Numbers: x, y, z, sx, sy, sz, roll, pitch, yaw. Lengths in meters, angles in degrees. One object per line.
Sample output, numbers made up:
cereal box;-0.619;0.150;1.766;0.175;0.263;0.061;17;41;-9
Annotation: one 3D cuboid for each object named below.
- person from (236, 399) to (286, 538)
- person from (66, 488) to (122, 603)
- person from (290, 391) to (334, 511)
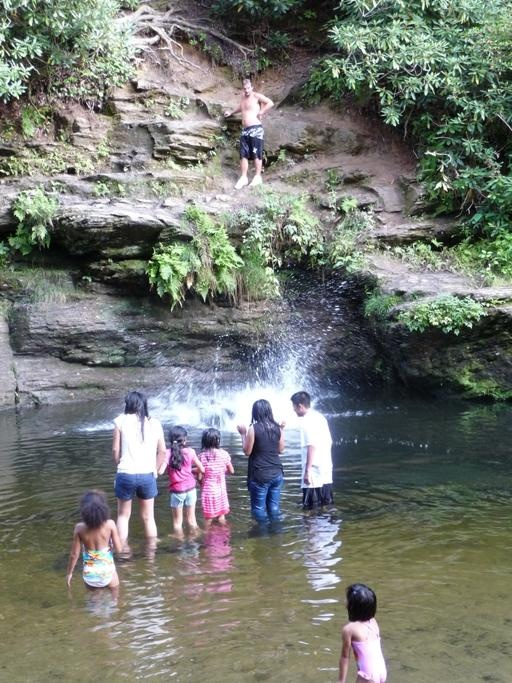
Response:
person;0.060;1.025;5.632;0.326;1.058;0.257;-3;5;-9
person;-1.079;1.312;4.376;0.341;0.690;0.237;-2;5;-5
person;0.502;0.971;5.851;0.321;1.113;0.461;-1;5;5
